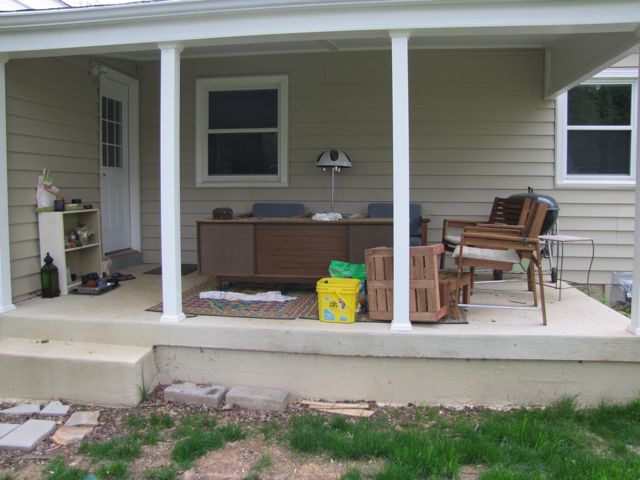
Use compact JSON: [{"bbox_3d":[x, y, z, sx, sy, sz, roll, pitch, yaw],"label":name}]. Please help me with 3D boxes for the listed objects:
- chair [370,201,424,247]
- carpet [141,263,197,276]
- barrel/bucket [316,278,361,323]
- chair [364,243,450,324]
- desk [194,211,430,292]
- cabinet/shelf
[{"bbox_3d":[1.002,-0.224,6.868,0.667,0.782,0.637,0,-2,7],"label":"chair"},{"bbox_3d":[-2.052,0.394,7.415,0.663,0.052,0.746,-1,12,-3],"label":"carpet"},{"bbox_3d":[0.159,0.550,4.908,0.362,0.375,0.189,3,14,13],"label":"barrel/bucket"},{"bbox_3d":[0.787,0.399,4.839,0.767,0.715,0.324,1,13,4],"label":"chair"},{"bbox_3d":[-0.379,0.083,5.789,2.050,0.708,1.196,3,5,6],"label":"desk"},{"bbox_3d":[-2.943,0.117,6.123,0.487,0.885,0.626,5,6,0],"label":"cabinet/shelf"}]
